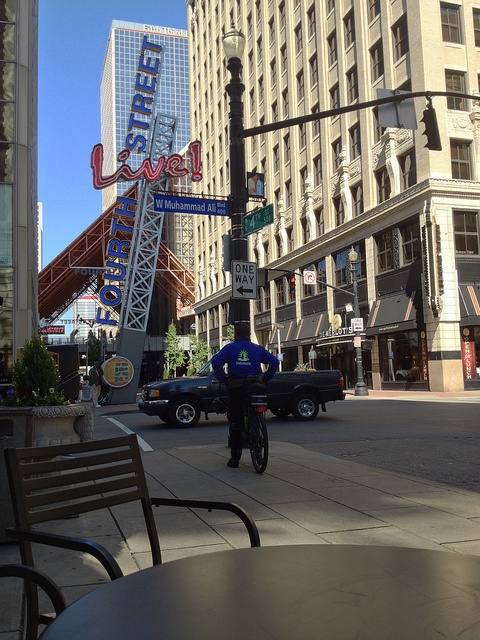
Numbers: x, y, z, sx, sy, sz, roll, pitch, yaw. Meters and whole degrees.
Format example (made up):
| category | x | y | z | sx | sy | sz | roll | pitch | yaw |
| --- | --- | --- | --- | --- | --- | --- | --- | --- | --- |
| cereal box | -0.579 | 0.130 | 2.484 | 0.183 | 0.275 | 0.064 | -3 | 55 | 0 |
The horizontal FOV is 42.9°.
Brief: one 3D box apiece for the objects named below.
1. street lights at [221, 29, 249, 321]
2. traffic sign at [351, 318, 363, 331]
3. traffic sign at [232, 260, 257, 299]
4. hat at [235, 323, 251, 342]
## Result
| category | x | y | z | sx | sy | sz | roll | pitch | yaw |
| --- | --- | --- | --- | --- | --- | --- | --- | --- | --- |
| street lights | -0.090 | -2.803 | 9.605 | 0.357 | 3.819 | 0.870 | -1 | -5 | 1 |
| traffic sign | 5.631 | 0.256 | 29.212 | 0.553 | 0.594 | 0.570 | 0 | -2 | -4 |
| traffic sign | 0.066 | -0.609 | 9.449 | 0.382 | 0.628 | 0.455 | -1 | -5 | 2 |
| hat | 0.023 | 0.162 | 8.544 | 0.178 | 0.357 | 0.246 | 3 | -41 | 0 |
